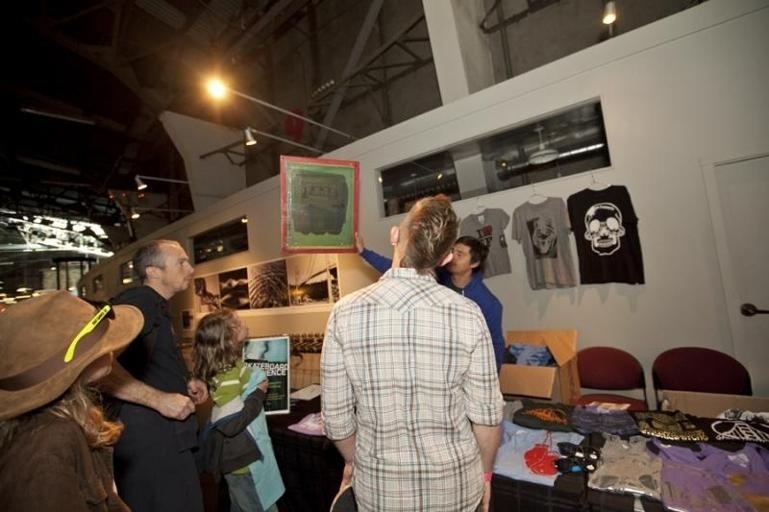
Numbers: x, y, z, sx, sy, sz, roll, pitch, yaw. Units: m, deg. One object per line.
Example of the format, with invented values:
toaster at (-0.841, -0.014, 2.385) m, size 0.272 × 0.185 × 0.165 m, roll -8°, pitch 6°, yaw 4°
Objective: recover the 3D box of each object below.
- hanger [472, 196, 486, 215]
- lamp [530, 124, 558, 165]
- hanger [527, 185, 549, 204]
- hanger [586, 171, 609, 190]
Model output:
hanger at (1.186, -0.636, 5.721) m, size 0.193 × 0.191 × 0.060 m, roll -19°, pitch -5°, yaw 33°
lamp at (1.997, -1.379, 5.747) m, size 0.363 × 0.412 × 0.374 m, roll -6°, pitch -5°, yaw 1°
hanger at (1.804, -0.719, 5.344) m, size 0.010 × 0.232 × 0.220 m, roll -12°, pitch 8°, yaw -44°
hanger at (2.384, -0.827, 5.075) m, size 0.192 × 0.211 × 0.048 m, roll -14°, pitch -7°, yaw 29°
